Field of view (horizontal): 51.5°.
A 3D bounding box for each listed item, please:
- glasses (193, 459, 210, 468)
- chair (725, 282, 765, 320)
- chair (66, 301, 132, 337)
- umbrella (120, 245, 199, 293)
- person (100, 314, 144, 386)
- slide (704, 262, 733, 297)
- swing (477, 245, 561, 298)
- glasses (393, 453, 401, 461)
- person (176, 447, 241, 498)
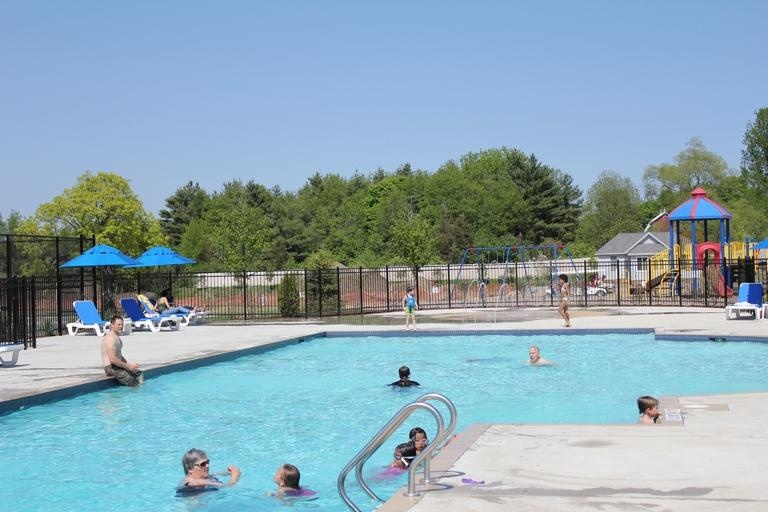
[{"bbox_3d":[-3.034,3.453,13.174,0.226,0.152,0.078,-4,5,-40],"label":"glasses"},{"bbox_3d":[12.817,1.581,28.086,1.107,1.211,1.725,0,4,27],"label":"chair"},{"bbox_3d":[-9.780,2.164,27.004,1.931,1.179,1.162,1,1,24],"label":"chair"},{"bbox_3d":[-9.890,0.120,33.627,2.722,1.075,2.773,1,2,14],"label":"umbrella"},{"bbox_3d":[-6.188,2.306,18.783,0.949,1.850,0.788,2,-4,-3],"label":"person"},{"bbox_3d":[15.371,1.102,36.468,0.375,1.343,1.313,-17,36,5],"label":"slide"},{"bbox_3d":[8.711,1.039,51.343,5.283,3.842,4.719,-3,1,27],"label":"swing"},{"bbox_3d":[0.234,3.498,13.776,0.132,0.089,0.175,0,-5,-3],"label":"glasses"},{"bbox_3d":[-2.993,3.571,13.359,0.995,0.716,0.498,-4,5,-38],"label":"person"}]
